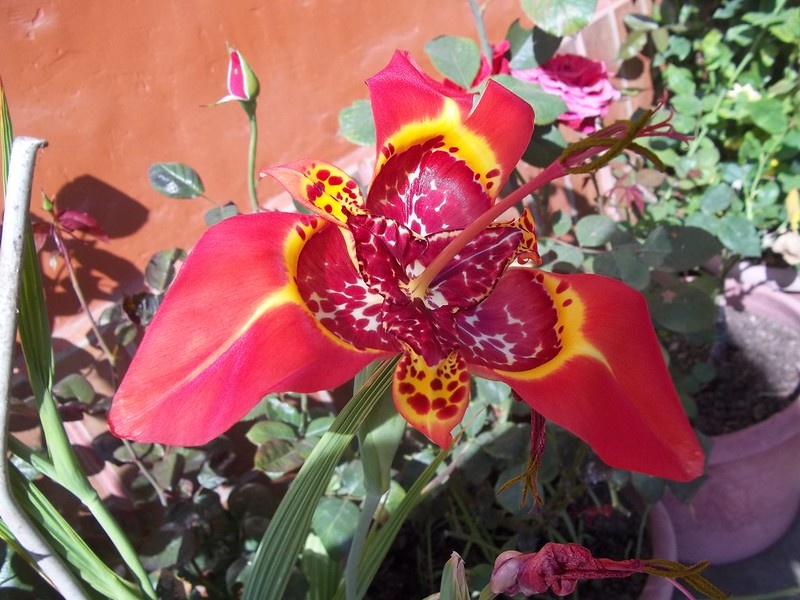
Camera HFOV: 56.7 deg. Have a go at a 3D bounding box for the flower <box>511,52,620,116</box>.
[{"bbox_3d":[0.281,-0.339,1.235,0.132,0.153,0.060,7,-8,-5],"label":"flower"}]

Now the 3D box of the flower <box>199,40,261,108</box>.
[{"bbox_3d":[-0.215,-0.297,0.990,0.071,0.095,0.087,6,20,44],"label":"flower"}]
